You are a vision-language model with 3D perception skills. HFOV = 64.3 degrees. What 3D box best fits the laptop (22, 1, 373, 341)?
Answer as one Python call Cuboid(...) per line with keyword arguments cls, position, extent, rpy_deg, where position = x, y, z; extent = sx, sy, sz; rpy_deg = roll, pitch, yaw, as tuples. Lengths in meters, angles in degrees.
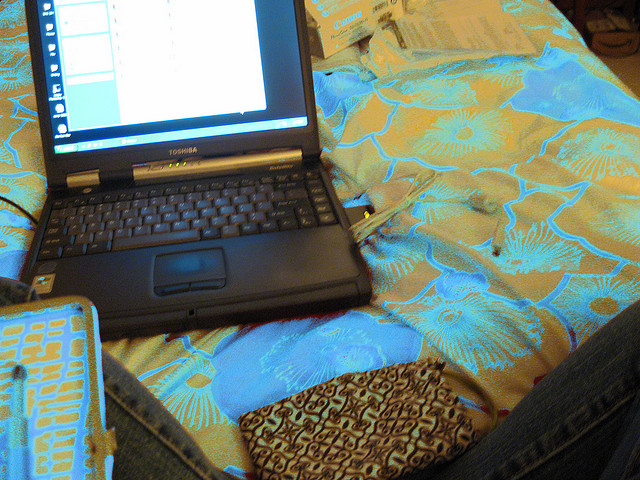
Cuboid(cls="laptop", position=(-0.150, -0.060, 0.809), extent=(0.517, 0.351, 0.459), rpy_deg=(-9, 58, -8))
